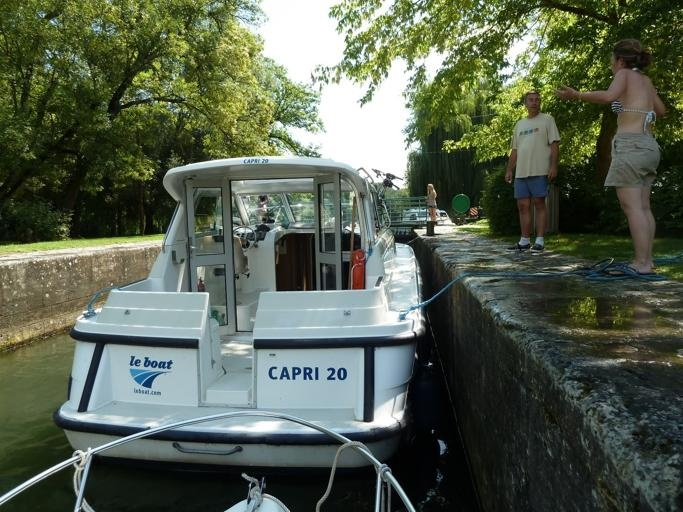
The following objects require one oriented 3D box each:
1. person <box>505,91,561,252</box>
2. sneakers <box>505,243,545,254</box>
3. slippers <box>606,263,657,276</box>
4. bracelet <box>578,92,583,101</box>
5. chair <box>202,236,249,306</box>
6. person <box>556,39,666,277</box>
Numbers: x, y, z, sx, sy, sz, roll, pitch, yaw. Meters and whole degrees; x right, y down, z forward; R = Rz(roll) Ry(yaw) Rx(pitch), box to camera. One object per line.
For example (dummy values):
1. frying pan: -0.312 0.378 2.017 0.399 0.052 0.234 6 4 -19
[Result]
1. person: 2.481 -1.103 7.787 0.697 2.085 0.606 -2 -1 34
2. sneakers: 2.413 -0.090 7.955 0.499 0.207 0.192 3 6 32
3. slippers: 2.677 0.094 5.601 0.390 0.115 0.160 4 8 32
4. bracelet: 2.243 -1.495 5.647 0.042 0.065 0.061 9 10 28
5. chair: -1.410 0.162 7.645 0.368 0.724 0.391 -3 22 7
6. person: 2.701 -0.945 5.848 1.117 2.250 0.745 3 -4 -37
